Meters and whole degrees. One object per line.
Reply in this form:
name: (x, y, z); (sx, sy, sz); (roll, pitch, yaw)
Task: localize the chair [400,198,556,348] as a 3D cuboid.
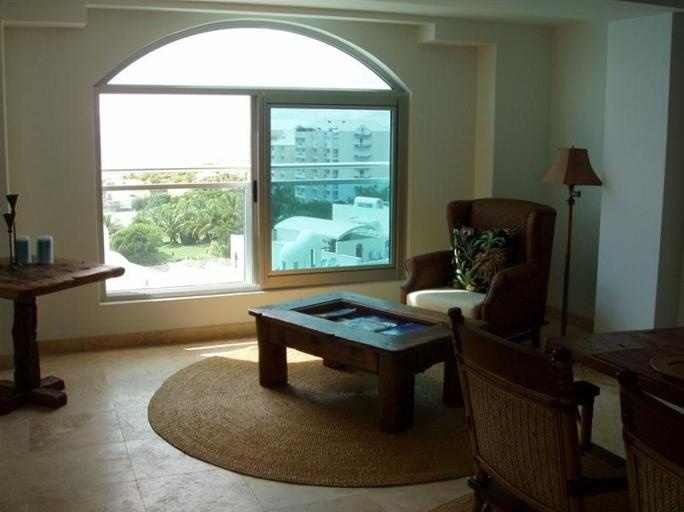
chair: (1.044, 0.116, 4.676); (1.276, 1.501, 1.202); (-3, 6, -43)

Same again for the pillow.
pillow: (1.171, 0.031, 4.254); (0.508, 0.546, 0.196); (4, -12, 40)

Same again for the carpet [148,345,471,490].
carpet: (-0.215, 0.980, 3.359); (2.127, 0.116, 1.352); (6, 14, 24)
